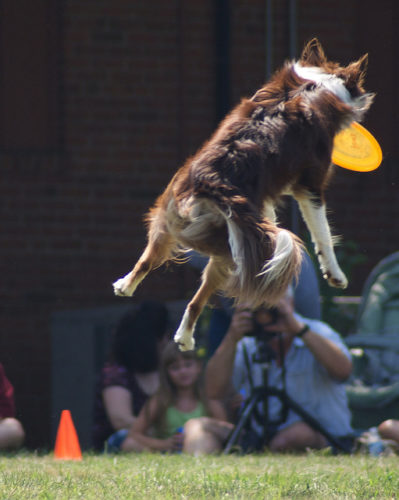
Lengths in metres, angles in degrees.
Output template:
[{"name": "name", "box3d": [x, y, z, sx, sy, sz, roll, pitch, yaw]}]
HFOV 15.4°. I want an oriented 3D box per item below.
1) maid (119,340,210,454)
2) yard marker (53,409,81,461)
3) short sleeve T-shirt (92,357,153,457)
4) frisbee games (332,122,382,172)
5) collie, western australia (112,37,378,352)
[{"name": "maid", "box3d": [-0.264, 0.983, 9.584, 0.555, 0.680, 0.522, 0, 17, -8]}, {"name": "yard marker", "box3d": [-0.836, 1.200, 9.353, 0.176, 0.269, 0.338, -1, 6, -6]}, {"name": "short sleeve T-shirt", "box3d": [-0.509, 1.032, 9.498, 0.350, 0.558, 0.097, -1, 6, -4]}, {"name": "frisbee games", "box3d": [0.949, -0.581, 8.854, 0.224, 0.327, 0.199, -8, 11, -12]}, {"name": "collie, western australia", "box3d": [0.338, -0.287, 8.709, 1.146, 1.547, 1.699, 16, 18, 21]}]
